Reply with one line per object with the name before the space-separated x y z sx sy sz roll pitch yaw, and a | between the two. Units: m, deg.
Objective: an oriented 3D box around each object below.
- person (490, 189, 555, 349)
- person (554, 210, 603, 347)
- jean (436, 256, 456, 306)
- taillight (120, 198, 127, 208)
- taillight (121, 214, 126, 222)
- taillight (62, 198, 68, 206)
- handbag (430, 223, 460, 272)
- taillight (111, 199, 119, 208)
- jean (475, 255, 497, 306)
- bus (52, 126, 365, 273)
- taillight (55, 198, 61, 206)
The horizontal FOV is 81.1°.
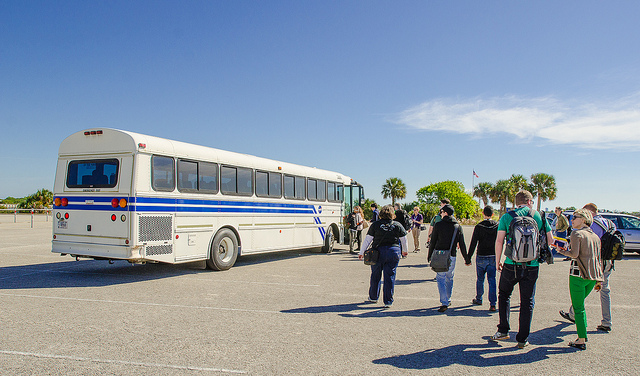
person | 4.245 1.604 7.911 1.035 3.042 1.437 1 1 28
person | 5.272 1.816 7.563 0.811 2.898 0.407 1 1 -14
jean | 3.294 2.426 9.779 0.400 1.116 0.965 1 0 19
taillight | -6.228 0.481 11.857 0.261 0.250 0.061 3 4 18
taillight | -6.216 0.950 11.827 0.198 0.190 0.062 5 0 14
taillight | -8.737 0.492 12.828 0.184 0.247 0.090 2 6 6
handbag | 3.132 1.488 9.351 0.723 1.011 0.380 1 1 4
taillight | -6.568 0.490 11.980 0.189 0.250 0.057 4 1 4
jean | 4.465 2.433 10.000 0.478 1.214 0.572 1 1 -44
bus | -2.800 0.715 19.064 5.883 4.571 16.659 -2 -2 37
taillight | -9.057 0.484 12.912 0.223 0.213 0.053 -4 0 9
